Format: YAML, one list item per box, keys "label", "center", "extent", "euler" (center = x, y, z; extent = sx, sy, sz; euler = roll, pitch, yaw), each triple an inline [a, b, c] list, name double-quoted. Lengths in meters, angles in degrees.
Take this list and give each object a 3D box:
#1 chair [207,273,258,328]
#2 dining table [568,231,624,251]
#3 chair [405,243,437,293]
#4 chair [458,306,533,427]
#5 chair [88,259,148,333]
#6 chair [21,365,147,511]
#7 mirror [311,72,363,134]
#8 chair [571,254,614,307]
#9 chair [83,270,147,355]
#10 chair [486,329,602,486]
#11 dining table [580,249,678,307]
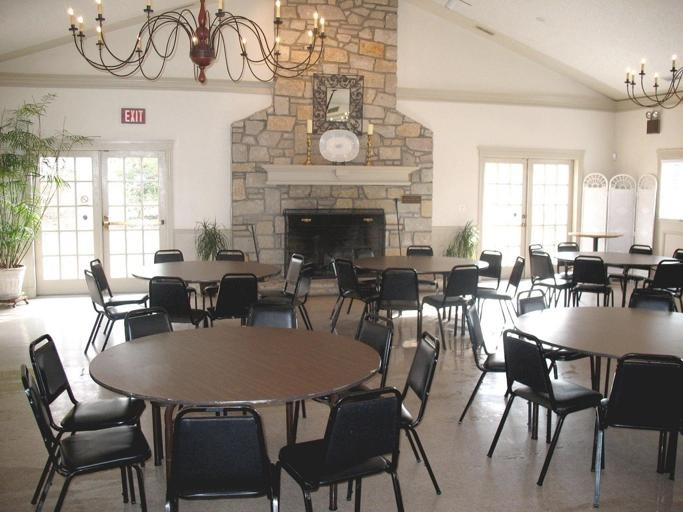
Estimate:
- label: "chair"
  center: [-1.116, 0.383, 5.602]
  extent: [0.441, 0.806, 0.534]
  euler: [-1, 21, -16]
- label: "dining table"
  center: [4.362, -0.340, 9.371]
  extent: [0.650, 0.492, 0.670]
  euler: [3, 13, 17]
- label: "chair"
  center: [1.156, 0.118, 7.872]
  extent: [0.501, 0.926, 0.570]
  euler: [-1, -1, 7]
- label: "chair"
  center: [1.219, 0.840, 4.878]
  extent: [0.825, 1.249, 0.766]
  euler: [-1, 8, 9]
- label: "chair"
  center: [-2.762, 0.458, 6.673]
  extent: [0.588, 0.988, 0.503]
  euler: [-7, 28, -21]
- label: "chair"
  center: [-1.608, 1.163, 3.420]
  extent: [0.737, 1.106, 0.629]
  euler: [-2, 15, -20]
- label: "mirror"
  center: [-0.107, -2.516, 8.888]
  extent: [1.081, 1.190, 0.075]
  euler: [-2, 11, -16]
- label: "chair"
  center: [3.353, 0.312, 7.296]
  extent: [0.507, 0.964, 0.584]
  euler: [3, 21, 29]
- label: "chair"
  center: [-2.533, 0.606, 6.002]
  extent: [0.593, 0.936, 0.681]
  euler: [-5, 14, -29]
- label: "chair"
  center: [1.487, 1.133, 4.005]
  extent: [0.800, 1.316, 0.710]
  euler: [-7, 11, -24]
- label: "dining table"
  center: [3.935, 0.056, 7.357]
  extent: [0.967, 0.640, 0.983]
  euler: [-5, 11, -12]
